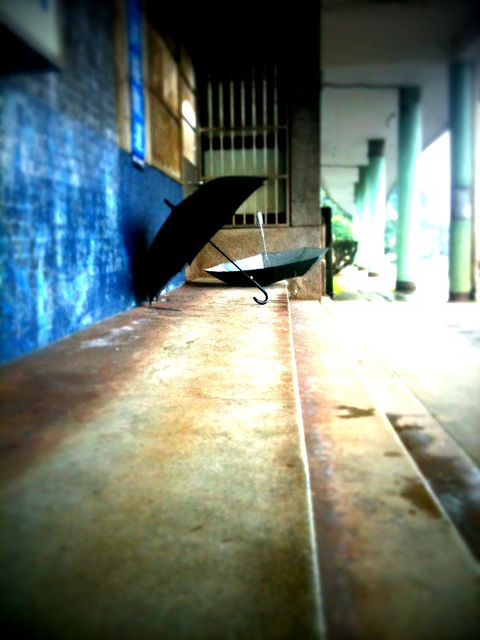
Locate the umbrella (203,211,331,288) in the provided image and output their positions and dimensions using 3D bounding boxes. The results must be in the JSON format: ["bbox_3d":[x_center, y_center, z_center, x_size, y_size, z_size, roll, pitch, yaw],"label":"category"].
[{"bbox_3d":[0.291,-0.560,4.909,0.980,0.747,1.079,-11,12,3],"label":"umbrella"}]

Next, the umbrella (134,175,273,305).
[{"bbox_3d":[-0.260,-0.537,2.986,0.729,0.781,0.348,0,10,1],"label":"umbrella"}]
